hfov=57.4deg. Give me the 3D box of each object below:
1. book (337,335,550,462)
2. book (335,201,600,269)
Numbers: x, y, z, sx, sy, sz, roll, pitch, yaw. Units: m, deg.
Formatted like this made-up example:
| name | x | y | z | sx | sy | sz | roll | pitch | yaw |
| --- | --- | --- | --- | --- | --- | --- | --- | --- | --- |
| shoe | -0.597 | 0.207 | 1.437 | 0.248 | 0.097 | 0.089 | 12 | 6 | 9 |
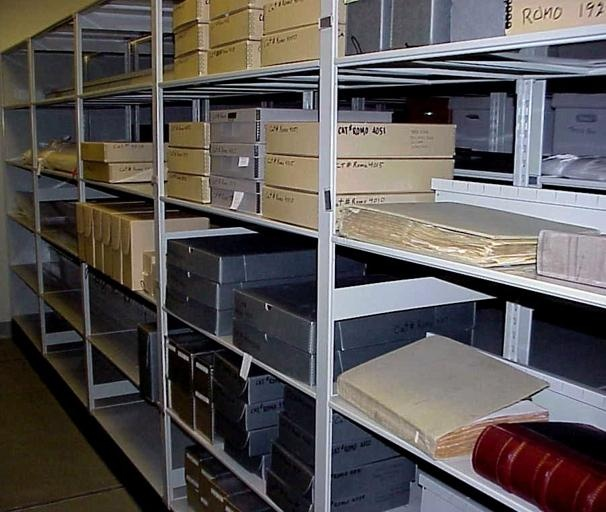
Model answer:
| name | x | y | z | sx | sy | sz | roll | pitch | yaw |
| --- | --- | --- | --- | --- | --- | --- | --- | --- | --- |
| book | 0.331 | 0.318 | 1.338 | 0.370 | 0.134 | 0.388 | -3 | 12 | -28 |
| book | 0.377 | -0.057 | 1.226 | 0.358 | 0.084 | 0.616 | -6 | 13 | -36 |
